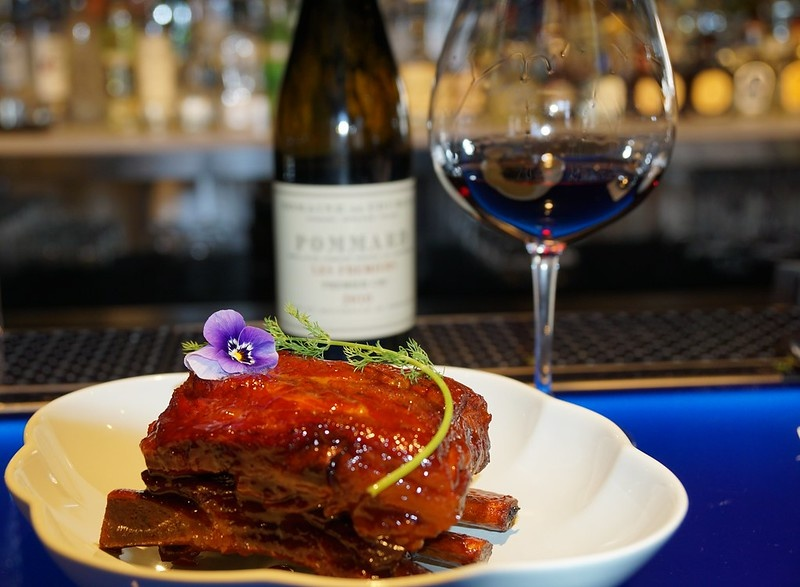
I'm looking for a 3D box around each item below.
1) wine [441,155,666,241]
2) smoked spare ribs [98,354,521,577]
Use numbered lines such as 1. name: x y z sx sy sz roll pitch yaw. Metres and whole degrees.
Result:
1. wine: 0.124 -0.083 0.684 0.200 0.086 0.065 4 19 18
2. smoked spare ribs: -0.069 0.112 0.548 0.248 0.115 0.134 1 18 11
